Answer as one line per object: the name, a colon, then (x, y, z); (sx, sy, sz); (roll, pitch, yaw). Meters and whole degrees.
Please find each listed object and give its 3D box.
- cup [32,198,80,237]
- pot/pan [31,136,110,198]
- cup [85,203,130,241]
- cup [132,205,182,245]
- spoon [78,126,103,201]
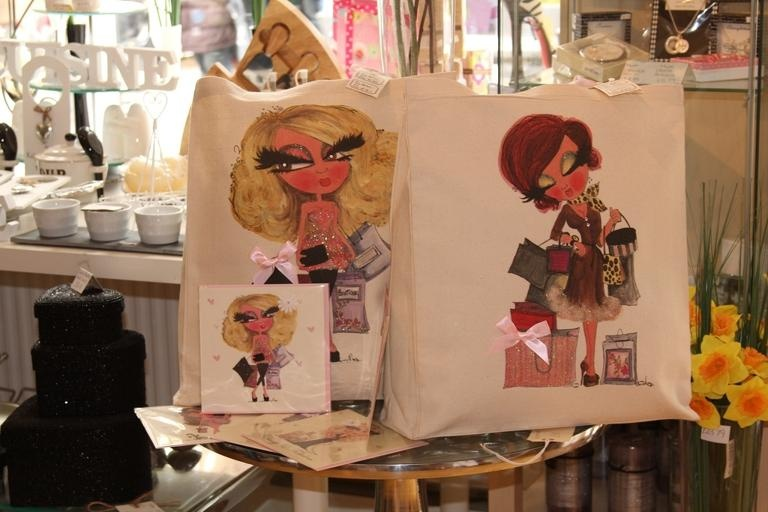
cup: (-0.837, -0.097, 1.824); (0.104, 0.073, 0.104); (-1, 9, 0)
pot/pan: (-0.921, -0.274, 2.205); (0.232, 0.218, 0.176); (2, 7, -3)
cup: (-0.690, -0.085, 1.785); (0.104, 0.073, 0.098); (-2, 4, 0)
cup: (-0.560, -0.076, 1.772); (0.106, 0.097, 0.083); (-4, 7, -37)
spoon: (-0.887, -0.288, 2.162); (0.073, 0.215, 0.149); (-3, 6, -23)
